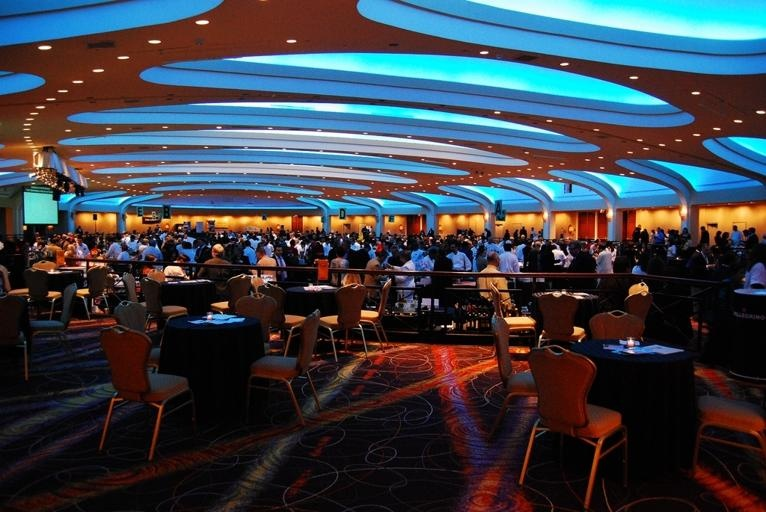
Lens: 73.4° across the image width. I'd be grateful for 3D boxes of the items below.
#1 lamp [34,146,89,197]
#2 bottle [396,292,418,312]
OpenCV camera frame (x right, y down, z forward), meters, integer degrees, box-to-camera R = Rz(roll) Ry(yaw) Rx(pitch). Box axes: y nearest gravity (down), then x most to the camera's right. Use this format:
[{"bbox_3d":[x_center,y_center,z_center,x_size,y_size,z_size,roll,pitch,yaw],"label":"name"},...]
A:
[{"bbox_3d":[-11.643,-3.018,18.506,1.289,1.688,4.849,-8,13,-31],"label":"lamp"},{"bbox_3d":[0.453,0.960,10.641,0.446,0.376,0.431,0,1,37],"label":"bottle"}]
